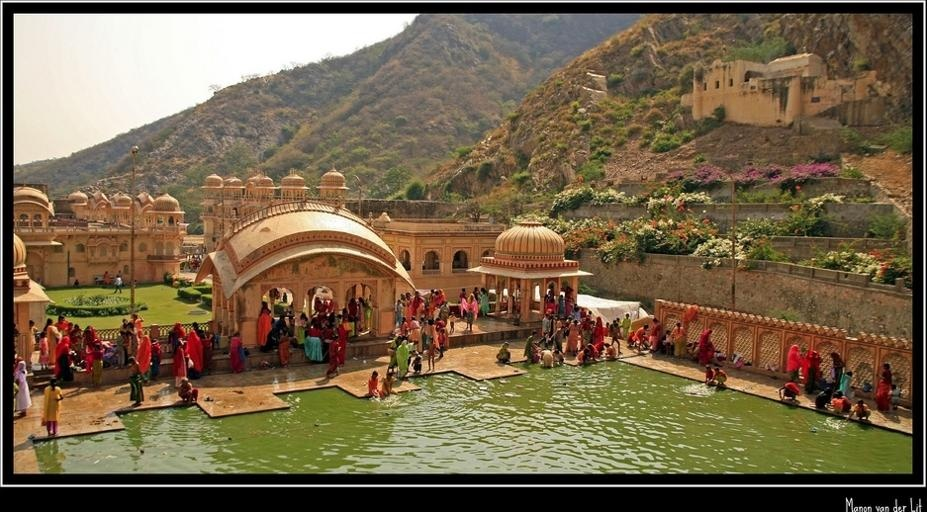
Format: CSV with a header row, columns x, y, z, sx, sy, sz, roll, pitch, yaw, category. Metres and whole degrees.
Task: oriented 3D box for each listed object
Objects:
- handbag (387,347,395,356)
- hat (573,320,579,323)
x,y,z,sx,sy,sz,roll,pitch,yaw,category
-3.147,4.029,30.297,0.445,0.364,0.355,-1,12,-15,handbag
5.249,3.048,33.467,0.255,0.051,0.220,-1,3,7,hat
